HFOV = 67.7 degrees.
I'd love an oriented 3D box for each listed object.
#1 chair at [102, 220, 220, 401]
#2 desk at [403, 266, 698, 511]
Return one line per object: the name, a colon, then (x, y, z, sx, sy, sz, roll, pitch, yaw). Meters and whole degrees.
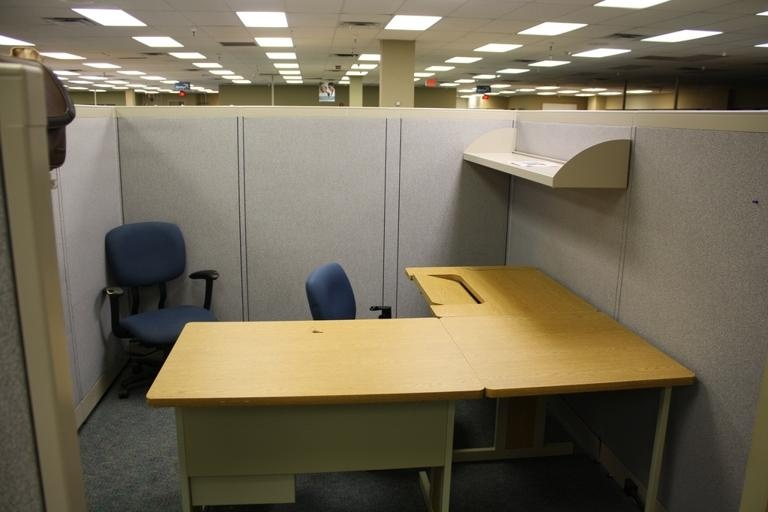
chair: (-1.518, 0.372, 3.968, 0.784, 1.082, 0.738, 7, 17, 13)
desk: (0.820, 0.433, 2.972, 1.018, 0.926, 1.994, 1, 15, -4)
